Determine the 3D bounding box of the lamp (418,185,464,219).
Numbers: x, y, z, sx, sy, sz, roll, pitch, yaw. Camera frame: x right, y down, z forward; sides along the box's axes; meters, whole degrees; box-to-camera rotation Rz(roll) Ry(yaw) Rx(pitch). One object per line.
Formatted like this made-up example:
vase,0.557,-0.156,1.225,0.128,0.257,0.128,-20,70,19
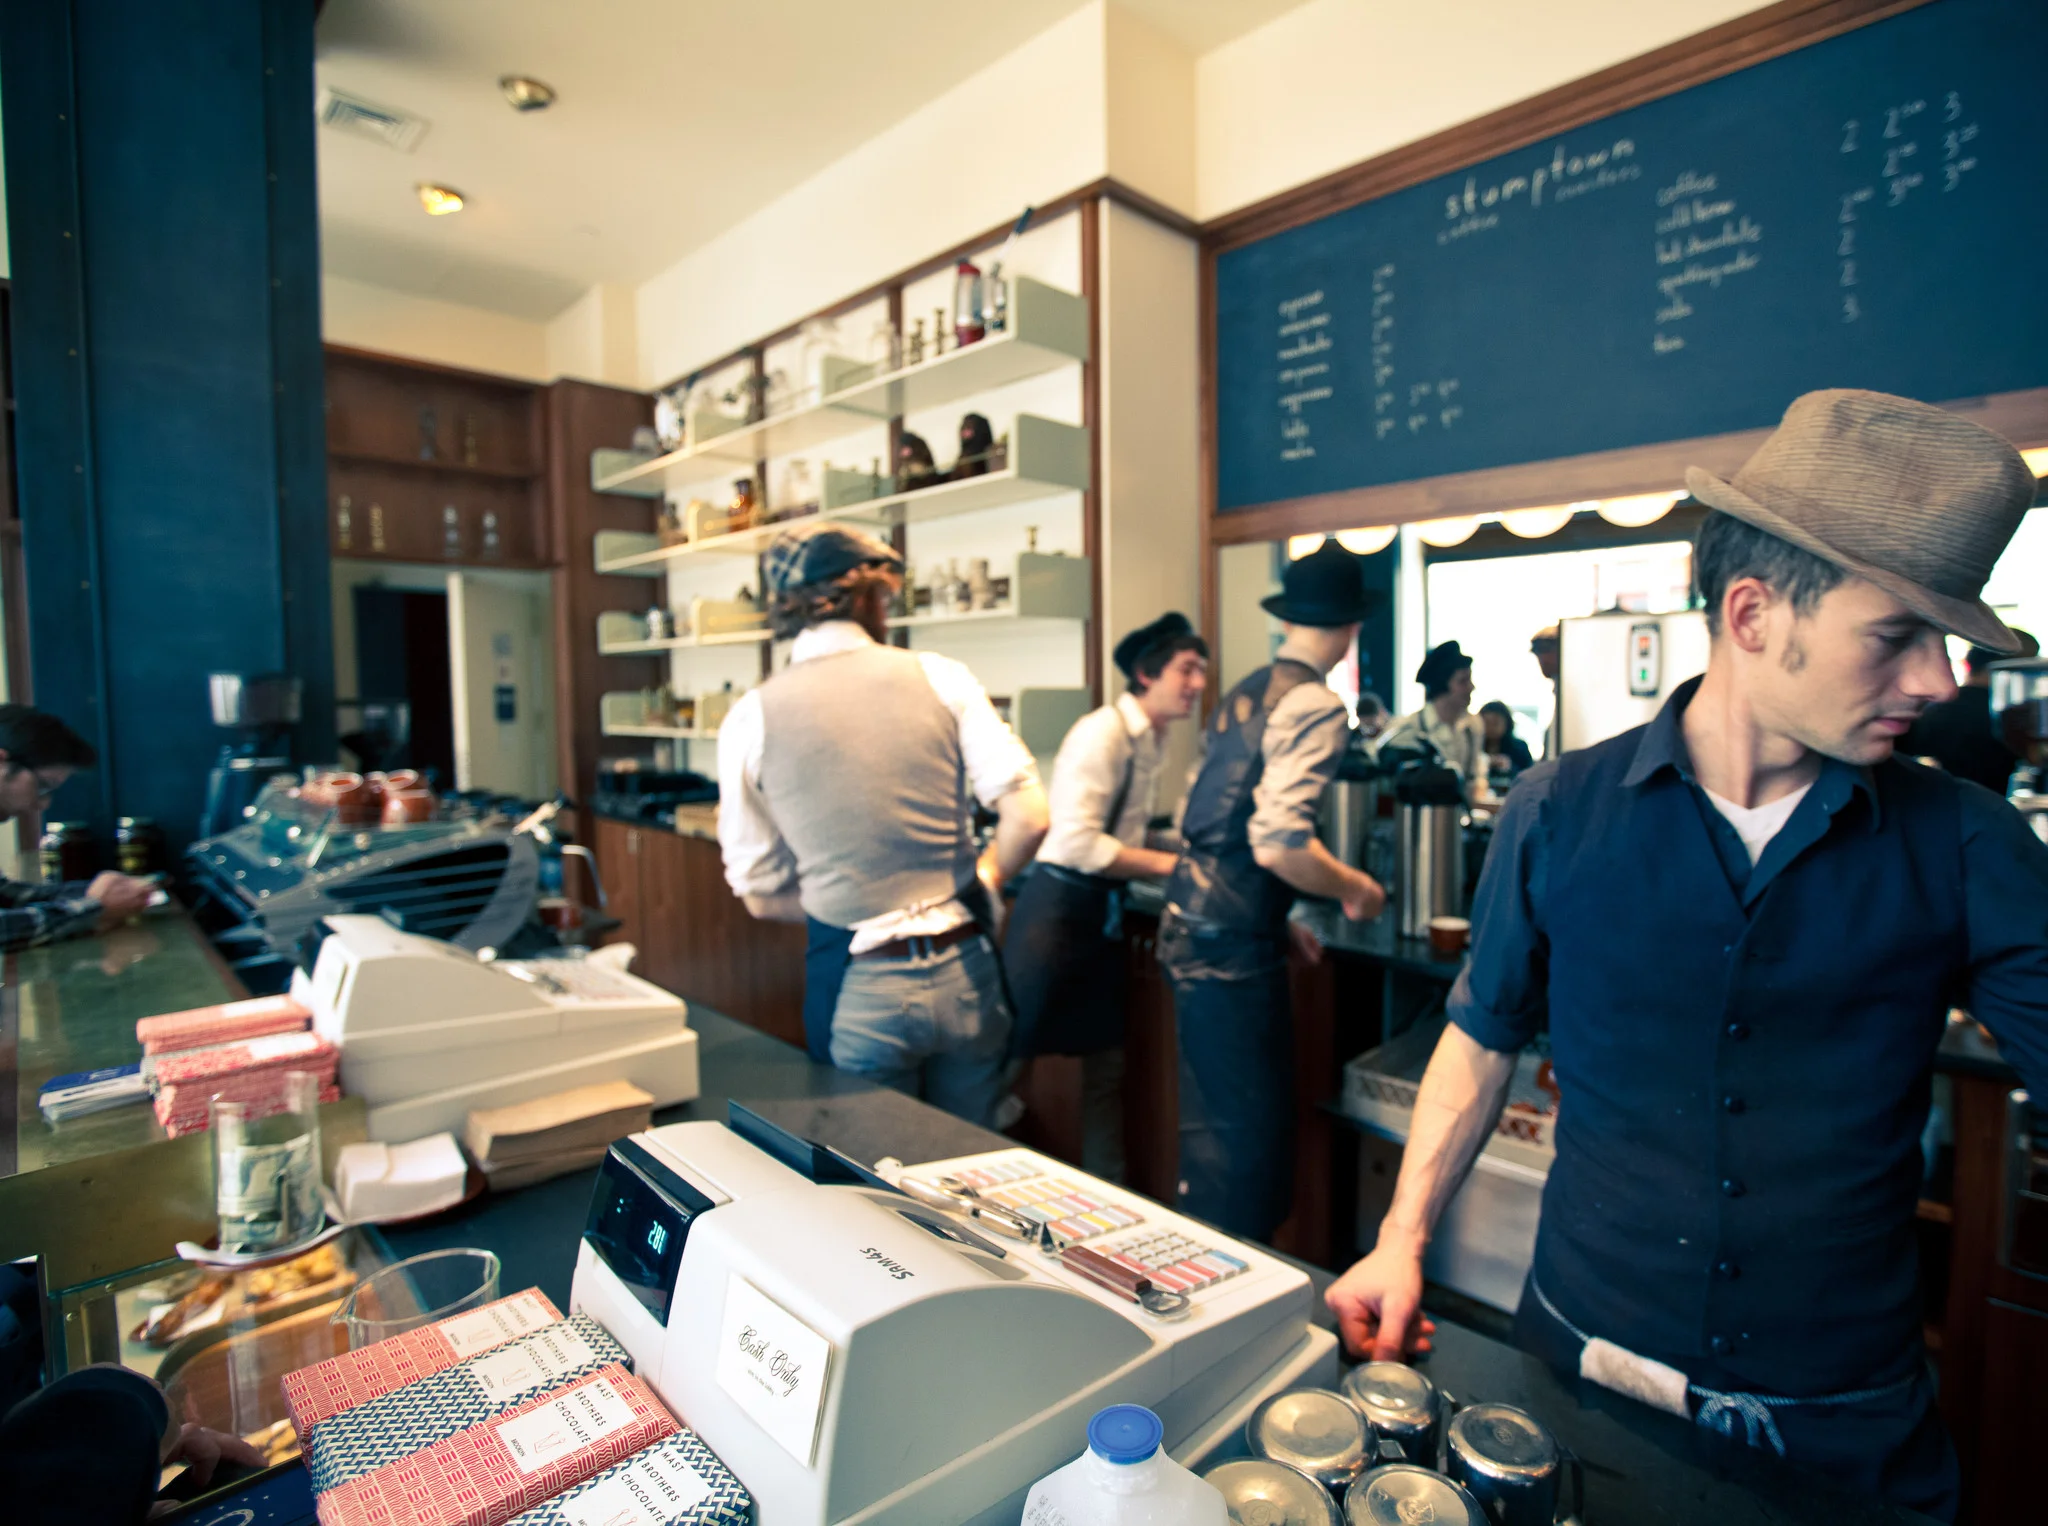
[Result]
lamp,-2.118,-2.055,5.583,0.189,0.076,0.322,-7,6,-23

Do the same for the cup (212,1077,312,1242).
cup,-1.104,0.583,2.235,0.143,0.245,0.073,-7,7,-26

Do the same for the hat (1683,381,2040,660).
hat,1.164,-0.315,2.169,0.402,0.171,0.352,34,15,25

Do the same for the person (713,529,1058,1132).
person,-0.269,0.425,3.335,0.706,1.800,0.603,-4,17,-3

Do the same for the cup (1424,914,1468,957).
cup,0.970,0.390,3.498,0.083,0.059,0.082,1,0,0

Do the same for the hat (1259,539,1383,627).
hat,0.727,-0.412,3.614,0.294,0.128,0.337,0,18,18

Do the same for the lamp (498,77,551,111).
lamp,-1.539,-2.090,4.765,0.083,0.027,0.100,3,-9,-3

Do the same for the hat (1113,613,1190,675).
hat,0.308,-0.305,3.877,0.193,0.077,0.151,-28,-15,33
